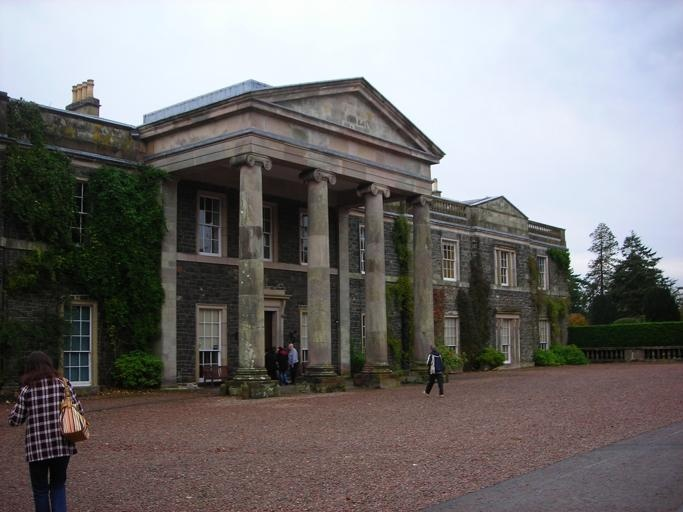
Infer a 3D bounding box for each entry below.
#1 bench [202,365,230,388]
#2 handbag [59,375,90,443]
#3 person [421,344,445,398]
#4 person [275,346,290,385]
[{"bbox_3d":[-4.059,3.763,21.910,0.264,0.487,0.749,-2,-5,33],"label":"bench"},{"bbox_3d":[-2.925,1.657,7.493,0.296,0.680,0.317,0,-11,-6],"label":"handbag"},{"bbox_3d":[2.507,3.115,19.000,0.516,1.407,1.878,-3,-12,6],"label":"person"},{"bbox_3d":[-1.950,3.538,22.559,0.336,1.187,0.781,0,-12,-6],"label":"person"}]
